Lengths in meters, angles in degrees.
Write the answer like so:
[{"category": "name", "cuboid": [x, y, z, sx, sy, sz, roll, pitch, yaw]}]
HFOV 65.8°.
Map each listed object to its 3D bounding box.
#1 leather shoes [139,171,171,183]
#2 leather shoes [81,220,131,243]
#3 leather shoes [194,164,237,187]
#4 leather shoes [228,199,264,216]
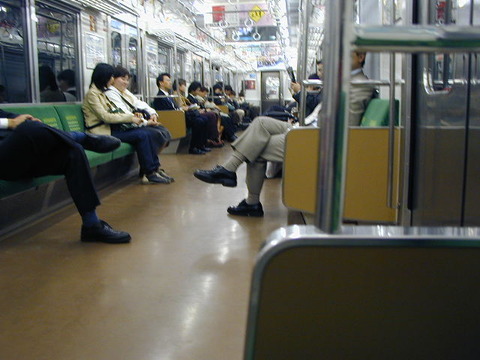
[{"category": "leather shoes", "cuboid": [-1.121, -0.045, 4.923, 0.409, 0.199, 0.154, -1, 7, -8]}, {"category": "leather shoes", "cuboid": [-1.043, 0.414, 2.899, 0.419, 0.201, 0.160, 2, 2, -3]}, {"category": "leather shoes", "cuboid": [-0.198, -0.033, 3.449, 0.433, 0.236, 0.165, 15, -1, -4]}, {"category": "leather shoes", "cuboid": [0.059, 0.274, 3.590, 0.342, 0.172, 0.141, 4, 1, 6]}]
